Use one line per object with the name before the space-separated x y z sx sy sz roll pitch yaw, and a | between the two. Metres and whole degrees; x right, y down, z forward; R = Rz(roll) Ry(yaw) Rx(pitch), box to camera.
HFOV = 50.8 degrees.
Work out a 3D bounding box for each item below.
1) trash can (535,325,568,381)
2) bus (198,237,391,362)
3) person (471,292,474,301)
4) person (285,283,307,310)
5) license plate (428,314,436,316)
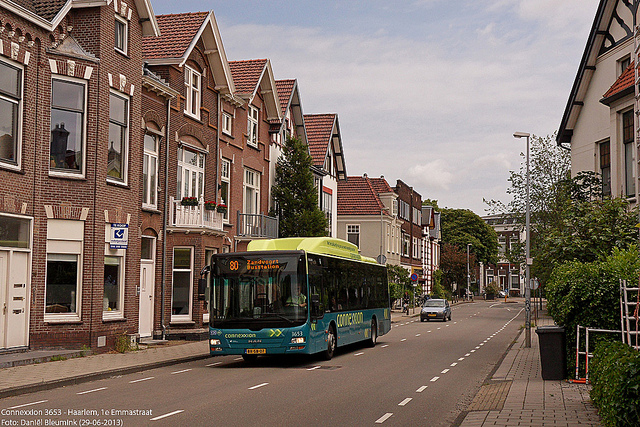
trash can | 6.683 3.984 19.365 0.822 1.575 0.666 -5 -12 13
bus | 0.478 3.681 28.677 3.647 5.192 13.802 -9 -15 29
person | 25.263 13.623 111.675 0.770 1.258 0.282 3 -4 8
person | -0.866 2.948 23.777 0.696 1.228 0.434 -1 -21 0
license plate | 8.441 7.592 50.767 0.562 0.127 0.050 -5 -12 9
